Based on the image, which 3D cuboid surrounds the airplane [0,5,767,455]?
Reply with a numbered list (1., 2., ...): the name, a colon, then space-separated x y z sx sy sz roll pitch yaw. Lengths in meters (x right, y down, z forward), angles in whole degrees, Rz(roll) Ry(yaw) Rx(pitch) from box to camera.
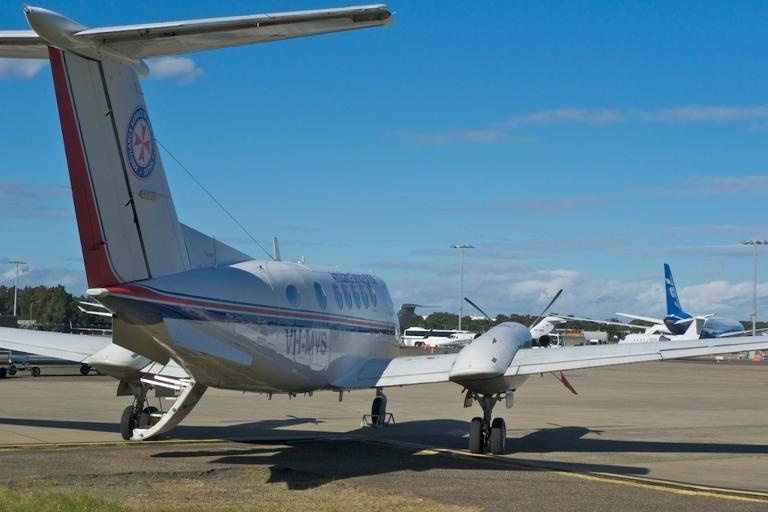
1. airplane: -0.997 0.223 17.289 15.380 3.545 11.323 0 -3 25
